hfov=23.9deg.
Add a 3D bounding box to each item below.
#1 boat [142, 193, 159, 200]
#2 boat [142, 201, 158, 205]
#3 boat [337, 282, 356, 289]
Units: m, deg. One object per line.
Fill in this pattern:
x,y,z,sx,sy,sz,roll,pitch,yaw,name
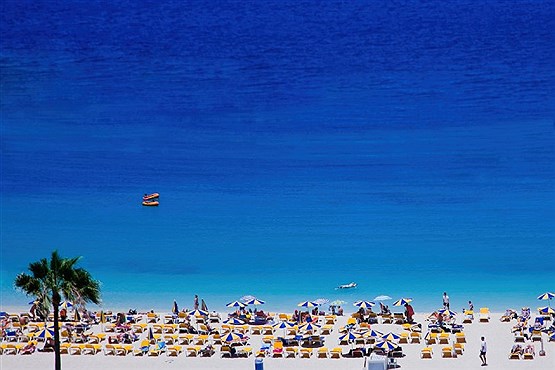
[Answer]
-24.522,2.203,250.508,2.674,0.788,1.285,-11,-10,-21,boat
-24.461,3.559,248.887,2.066,0.436,1.034,-2,9,-6,boat
10.910,16.936,219.002,3.070,1.357,3.368,-1,-13,6,boat
